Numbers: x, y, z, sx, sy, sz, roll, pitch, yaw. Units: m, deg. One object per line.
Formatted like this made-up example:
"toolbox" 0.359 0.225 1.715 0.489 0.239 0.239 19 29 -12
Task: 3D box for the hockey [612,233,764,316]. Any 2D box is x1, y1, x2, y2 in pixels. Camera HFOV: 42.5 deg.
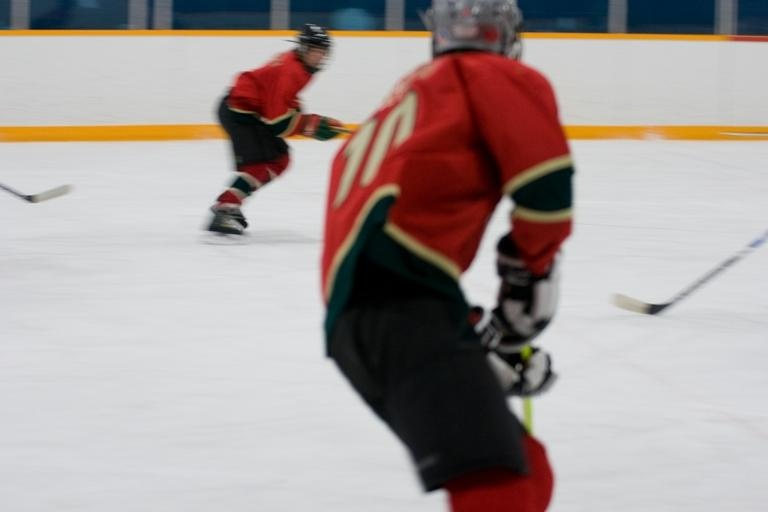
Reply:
"hockey" 1.370 0.062 4.289 0.357 0.273 0.891 14 15 42
